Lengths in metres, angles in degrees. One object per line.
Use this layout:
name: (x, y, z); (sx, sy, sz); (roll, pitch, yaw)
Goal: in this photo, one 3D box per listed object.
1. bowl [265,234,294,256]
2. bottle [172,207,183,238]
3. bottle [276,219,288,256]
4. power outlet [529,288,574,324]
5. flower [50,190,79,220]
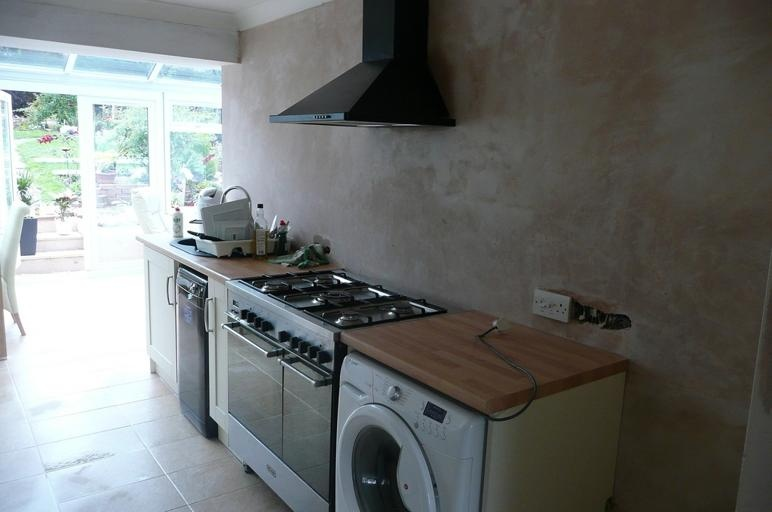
bowl: (-0.817, -0.083, 4.220); (0.128, 0.076, 0.158); (-5, 17, -22)
bottle: (-1.813, -0.279, 4.787); (0.078, 0.231, 0.350); (-3, 9, -21)
bottle: (-0.799, -0.132, 4.201); (0.073, 0.245, 0.149); (-1, 9, -5)
power outlet: (0.817, 0.276, 2.819); (0.194, 0.129, 0.106); (15, -30, 0)
flower: (-4.683, -0.725, 8.107); (0.335, 0.416, 0.276); (-3, 9, -20)
